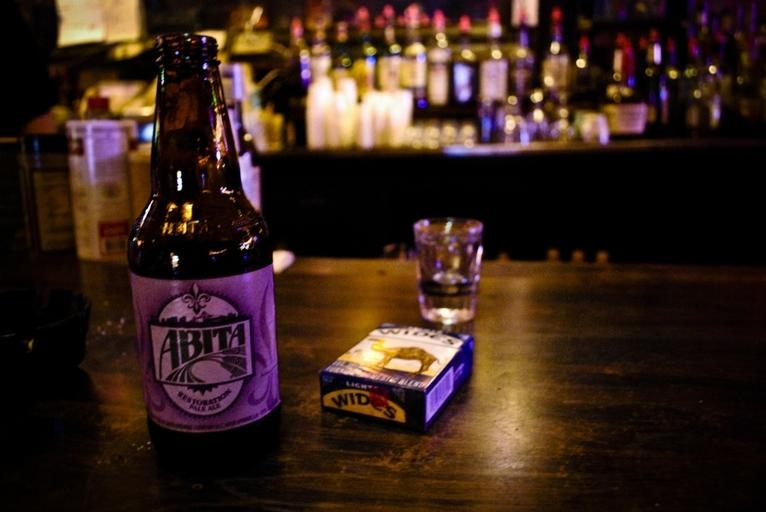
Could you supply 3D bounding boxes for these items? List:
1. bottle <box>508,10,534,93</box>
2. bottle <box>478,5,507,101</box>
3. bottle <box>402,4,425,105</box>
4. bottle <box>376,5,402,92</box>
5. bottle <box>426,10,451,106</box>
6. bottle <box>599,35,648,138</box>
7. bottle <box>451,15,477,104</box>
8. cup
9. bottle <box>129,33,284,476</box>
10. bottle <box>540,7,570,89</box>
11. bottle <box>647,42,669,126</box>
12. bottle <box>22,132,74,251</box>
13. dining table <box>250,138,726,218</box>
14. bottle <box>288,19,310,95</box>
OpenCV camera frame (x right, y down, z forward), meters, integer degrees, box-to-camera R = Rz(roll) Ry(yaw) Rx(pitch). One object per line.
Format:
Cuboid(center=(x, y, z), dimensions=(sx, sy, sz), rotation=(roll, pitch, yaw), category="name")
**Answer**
Cuboid(center=(0.579, -0.853, 3.285), dimensions=(0.102, 0.371, 0.170), rotation=(0, 10, 10), category="bottle")
Cuboid(center=(0.457, -0.823, 3.278), dimensions=(0.119, 0.379, 0.284), rotation=(-1, 10, 9), category="bottle")
Cuboid(center=(0.132, -0.837, 3.329), dimensions=(0.101, 0.403, 0.169), rotation=(-1, 10, 5), category="bottle")
Cuboid(center=(0.025, -0.875, 3.363), dimensions=(0.110, 0.352, 0.289), rotation=(-2, 10, 1), category="bottle")
Cuboid(center=(0.232, -0.822, 3.313), dimensions=(0.103, 0.377, 0.202), rotation=(-1, 10, 5), category="bottle")
Cuboid(center=(0.984, -0.699, 3.219), dimensions=(0.183, 0.418, 0.267), rotation=(1, 10, 17), category="bottle")
Cuboid(center=(0.347, -0.817, 3.329), dimensions=(0.112, 0.349, 0.184), rotation=(-3, 10, -5), category="bottle")
Cuboid(center=(0.085, 0.022, 1.222), dimensions=(0.134, 0.160, 0.115), rotation=(-3, 9, -4), category="cup")
Cuboid(center=(-0.201, -0.004, 0.882), dimensions=(0.148, 0.474, 0.089), rotation=(-4, 10, -11), category="bottle")
Cuboid(center=(0.711, -0.854, 3.261), dimensions=(0.109, 0.353, 0.173), rotation=(0, 10, 13), category="bottle")
Cuboid(center=(1.101, -0.702, 3.210), dimensions=(0.101, 0.345, 0.075), rotation=(-9, 12, -33), category="bottle")
Cuboid(center=(-0.419, -0.077, 0.993), dimensions=(0.013, 0.150, 0.063), rotation=(5, 12, 33), category="bottle")
Cuboid(center=(0.447, -0.269, 3.201), dimensions=(1.827, 0.359, 0.253), rotation=(1, -9, 0), category="dining table")
Cuboid(center=(-0.356, -0.875, 3.430), dimensions=(0.080, 0.293, 0.168), rotation=(-3, 10, -6), category="bottle")
